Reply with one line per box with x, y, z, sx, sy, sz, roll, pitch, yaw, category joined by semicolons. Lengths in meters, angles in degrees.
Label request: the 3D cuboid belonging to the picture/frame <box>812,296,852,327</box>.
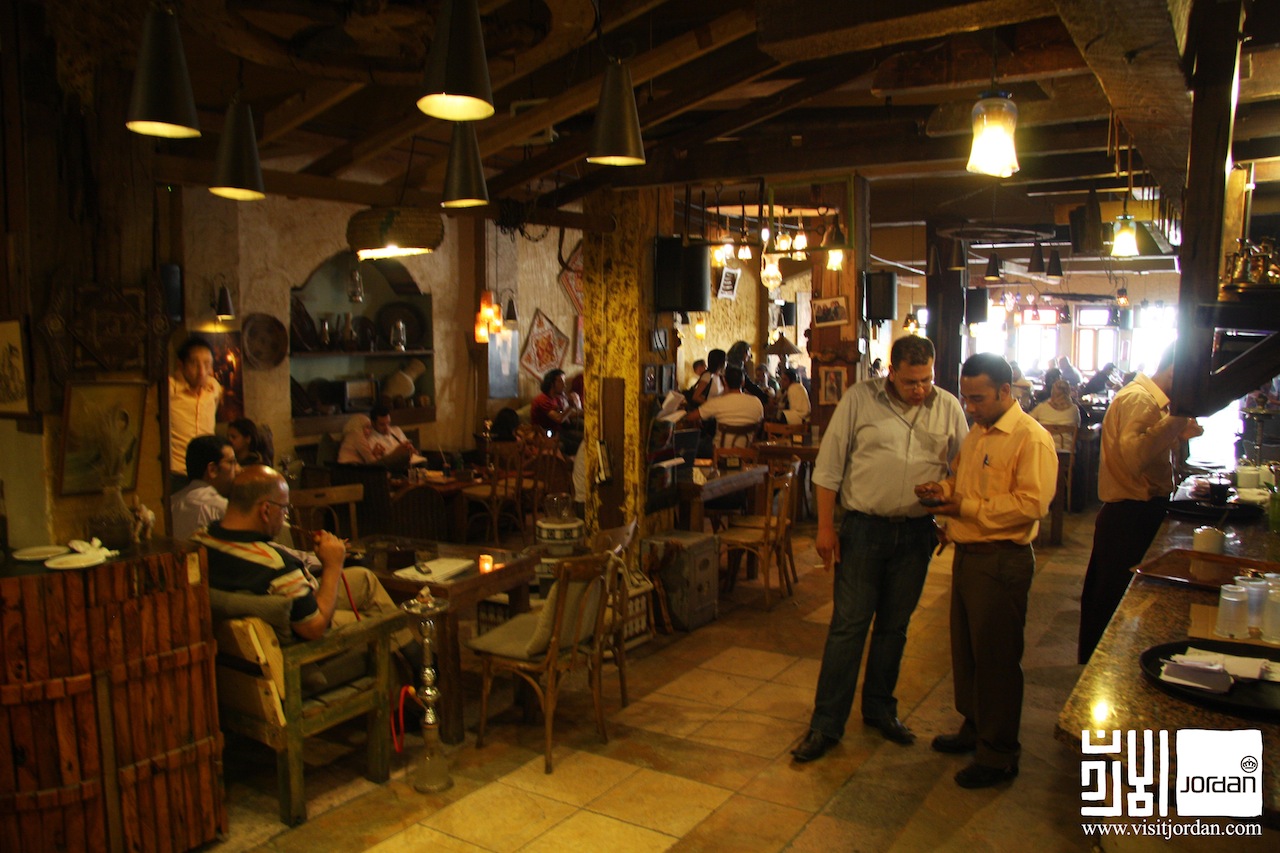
1.957;-1.164;10.373;0.077;0.341;0.516;-9;15;-35;picture/frame

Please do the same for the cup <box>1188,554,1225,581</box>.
2.829;0.704;5.015;0.153;0.074;0.237;7;14;31;cup

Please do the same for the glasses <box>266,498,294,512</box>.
-1.953;0.421;5.427;0.083;0.077;0.080;-11;6;-10;glasses

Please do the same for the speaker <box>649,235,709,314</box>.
0.341;-1.235;8.403;0.594;0.721;0.528;1;-1;-9;speaker

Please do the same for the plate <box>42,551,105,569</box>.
-2.664;0.632;4.748;0.267;0.022;0.218;-8;14;-32;plate

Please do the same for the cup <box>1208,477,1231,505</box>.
3.780;0.433;6.501;0.139;0.138;0.129;3;3;0;cup

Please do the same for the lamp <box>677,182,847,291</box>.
1.582;-2.423;12.314;1.669;1.065;2.169;-1;3;5;lamp

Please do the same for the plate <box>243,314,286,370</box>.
-3.954;-0.881;10.540;0.113;0.504;0.491;6;0;33;plate

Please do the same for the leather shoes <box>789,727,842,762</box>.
0.996;1.828;5.813;0.339;0.140;0.132;-3;-5;-38;leather shoes

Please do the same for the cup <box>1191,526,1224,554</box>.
3.033;0.603;5.408;0.153;0.150;0.156;1;1;0;cup

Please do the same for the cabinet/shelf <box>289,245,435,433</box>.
-3.295;-0.916;11.649;0.564;1.825;1.913;5;6;42;cabinet/shelf

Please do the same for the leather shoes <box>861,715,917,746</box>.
1.493;1.811;6.035;0.107;0.122;0.308;-2;0;-36;leather shoes

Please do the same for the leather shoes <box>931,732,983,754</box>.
1.838;1.825;5.857;0.265;0.112;0.097;2;6;7;leather shoes

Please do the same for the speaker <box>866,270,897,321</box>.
2.485;-1.346;10.483;0.452;0.513;0.456;-1;3;9;speaker
